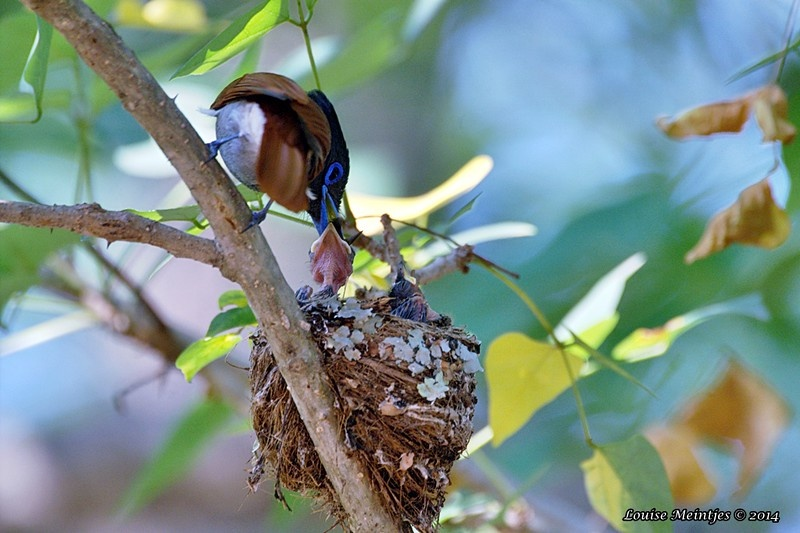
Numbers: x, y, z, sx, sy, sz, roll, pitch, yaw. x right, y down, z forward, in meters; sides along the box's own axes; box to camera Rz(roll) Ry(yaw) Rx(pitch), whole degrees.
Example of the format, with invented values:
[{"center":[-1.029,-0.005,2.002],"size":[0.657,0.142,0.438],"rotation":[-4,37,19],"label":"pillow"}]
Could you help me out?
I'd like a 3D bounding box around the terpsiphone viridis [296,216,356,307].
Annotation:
[{"center":[-0.165,-0.005,2.128],"size":[0.097,0.218,0.064],"rotation":[10,-3,-4],"label":"terpsiphone viridis"}]
